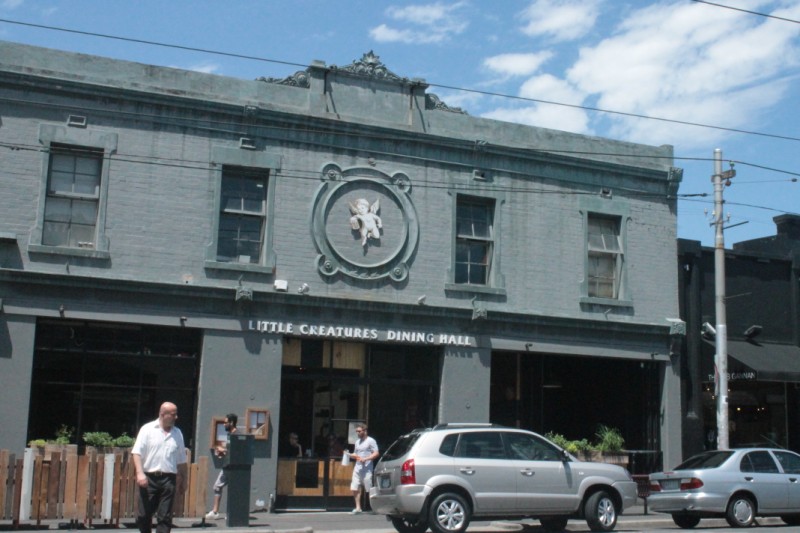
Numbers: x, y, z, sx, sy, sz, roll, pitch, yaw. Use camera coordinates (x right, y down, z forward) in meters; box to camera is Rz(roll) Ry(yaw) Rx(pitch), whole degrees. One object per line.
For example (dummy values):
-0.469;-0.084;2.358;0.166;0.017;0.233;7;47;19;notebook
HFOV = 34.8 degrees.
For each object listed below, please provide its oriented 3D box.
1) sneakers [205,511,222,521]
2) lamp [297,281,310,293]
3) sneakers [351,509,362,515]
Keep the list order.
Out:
-4.924;6.554;33.948;0.397;0.168;0.180;10;-17;-20;sneakers
-2.732;0.595;36.300;0.294;0.264;0.394;4;-16;-23;lamp
-1.194;6.771;35.661;0.283;0.122;0.115;1;-7;9;sneakers
